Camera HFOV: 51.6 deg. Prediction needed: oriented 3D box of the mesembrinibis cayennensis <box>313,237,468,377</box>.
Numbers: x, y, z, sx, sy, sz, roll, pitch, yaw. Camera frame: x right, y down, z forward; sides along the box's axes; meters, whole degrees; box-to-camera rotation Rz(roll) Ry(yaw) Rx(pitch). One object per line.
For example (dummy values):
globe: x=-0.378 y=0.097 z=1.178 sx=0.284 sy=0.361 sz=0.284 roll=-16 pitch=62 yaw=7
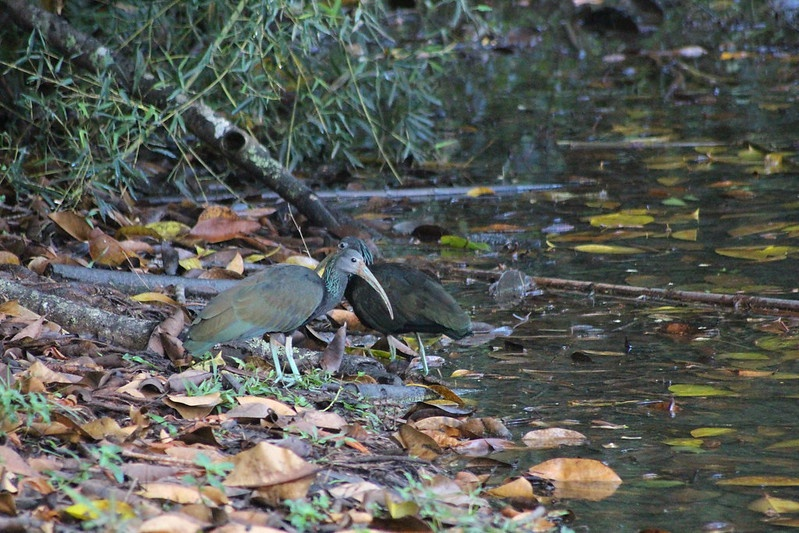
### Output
mesembrinibis cayennensis: x=0.008 y=0.194 z=5.298 sx=1.255 sy=0.714 sz=0.552 roll=3 pitch=4 yaw=44

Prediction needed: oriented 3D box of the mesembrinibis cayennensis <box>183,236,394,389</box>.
mesembrinibis cayennensis: x=-0.647 y=0.300 z=4.775 sx=0.621 sy=0.563 sz=1.299 roll=16 pitch=37 yaw=34
